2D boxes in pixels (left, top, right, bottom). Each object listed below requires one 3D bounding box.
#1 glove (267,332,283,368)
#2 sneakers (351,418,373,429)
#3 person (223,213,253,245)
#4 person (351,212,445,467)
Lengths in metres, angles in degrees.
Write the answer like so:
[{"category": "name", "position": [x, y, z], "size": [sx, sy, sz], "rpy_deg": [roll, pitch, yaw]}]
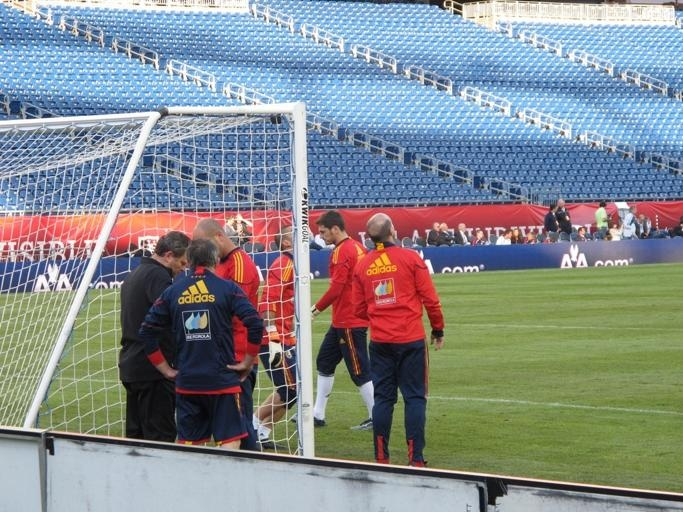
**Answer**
[{"category": "glove", "position": [-1.194, 1.601, 23.038], "size": [0.331, 0.430, 0.324], "rpy_deg": [-2, -3, -5]}, {"category": "sneakers", "position": [0.348, 2.884, 23.771], "size": [0.456, 0.196, 0.159], "rpy_deg": [-5, -7, 25]}, {"category": "person", "position": [-2.118, -0.528, 27.678], "size": [0.396, 0.998, 0.608], "rpy_deg": [7, -18, -19]}, {"category": "person", "position": [0.846, 1.364, 22.561], "size": [1.457, 4.010, 1.140], "rpy_deg": [4, 10, 14]}]
